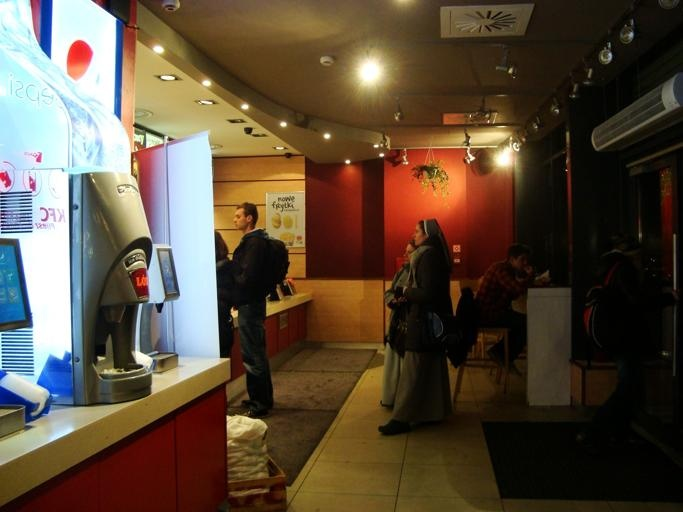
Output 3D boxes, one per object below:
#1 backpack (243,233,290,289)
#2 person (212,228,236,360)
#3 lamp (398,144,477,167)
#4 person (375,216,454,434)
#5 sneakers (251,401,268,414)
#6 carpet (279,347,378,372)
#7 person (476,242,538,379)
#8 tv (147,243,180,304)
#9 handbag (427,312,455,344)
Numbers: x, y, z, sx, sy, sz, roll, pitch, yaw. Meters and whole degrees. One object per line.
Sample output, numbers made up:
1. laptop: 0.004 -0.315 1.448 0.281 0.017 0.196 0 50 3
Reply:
1. backpack: -0.710 0.077 4.728 0.368 0.473 0.383 -13 -11 18
2. person: -0.928 0.317 4.407 0.127 1.012 0.304 -1 2 -11
3. lamp: 1.286 -1.420 7.523 1.072 0.267 1.159 0 3 14
4. person: 0.595 0.541 4.329 0.530 1.655 0.442 -1 2 7
5. sneakers: -0.721 1.294 4.768 0.111 0.060 0.155 2 1 -8
6. carpet: -0.138 1.316 7.153 1.045 0.058 1.548 0 3 9
7. person: 1.546 0.482 5.235 0.535 1.172 0.286 0 2 16
8. tv: -0.766 0.071 2.372 0.120 0.247 0.102 -2 2 -21
9. handbag: 0.736 0.526 4.123 0.169 0.233 0.086 -10 -10 -21
